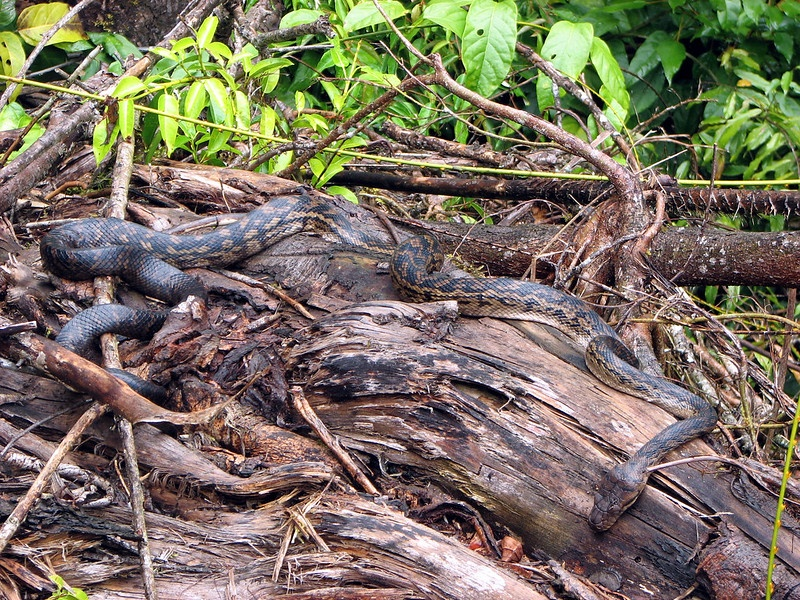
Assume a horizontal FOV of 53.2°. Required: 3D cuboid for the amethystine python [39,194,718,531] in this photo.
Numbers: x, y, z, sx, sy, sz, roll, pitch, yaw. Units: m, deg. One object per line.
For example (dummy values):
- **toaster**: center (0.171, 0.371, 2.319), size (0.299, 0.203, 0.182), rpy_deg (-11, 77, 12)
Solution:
- **amethystine python**: center (-0.380, 0.436, 5.545), size (4.111, 0.360, 2.088), rpy_deg (16, 12, 8)
